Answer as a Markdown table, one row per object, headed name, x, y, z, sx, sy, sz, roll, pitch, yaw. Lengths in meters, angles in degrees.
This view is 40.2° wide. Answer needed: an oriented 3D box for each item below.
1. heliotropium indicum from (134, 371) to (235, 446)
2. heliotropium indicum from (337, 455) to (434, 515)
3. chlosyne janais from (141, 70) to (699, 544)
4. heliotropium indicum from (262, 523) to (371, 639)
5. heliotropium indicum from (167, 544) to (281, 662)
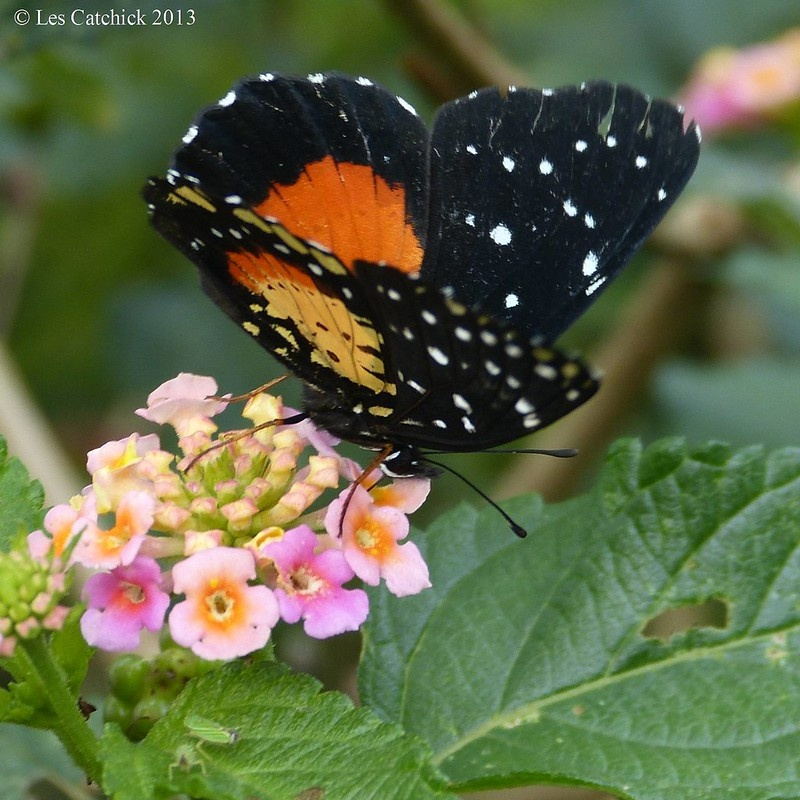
| name | x | y | z | sx | sy | sz | roll | pitch | yaw |
| --- | --- | --- | --- | --- | --- | --- | --- | --- | --- |
| heliotropium indicum | -0.462 | 0.027 | 2.385 | 0.175 | 0.112 | 0.225 | -1 | 40 | 12 |
| heliotropium indicum | -0.021 | 0.199 | 2.397 | 0.177 | 0.065 | 0.154 | 12 | 0 | -9 |
| chlosyne janais | 0.045 | -0.287 | 2.588 | 1.079 | 0.894 | 1.025 | 8 | 46 | 22 |
| heliotropium indicum | -0.163 | 0.350 | 2.083 | 0.156 | 0.166 | 0.205 | -21 | 42 | -7 |
| heliotropium indicum | -0.322 | 0.377 | 2.008 | 0.247 | 0.066 | 0.195 | -12 | 68 | 16 |
